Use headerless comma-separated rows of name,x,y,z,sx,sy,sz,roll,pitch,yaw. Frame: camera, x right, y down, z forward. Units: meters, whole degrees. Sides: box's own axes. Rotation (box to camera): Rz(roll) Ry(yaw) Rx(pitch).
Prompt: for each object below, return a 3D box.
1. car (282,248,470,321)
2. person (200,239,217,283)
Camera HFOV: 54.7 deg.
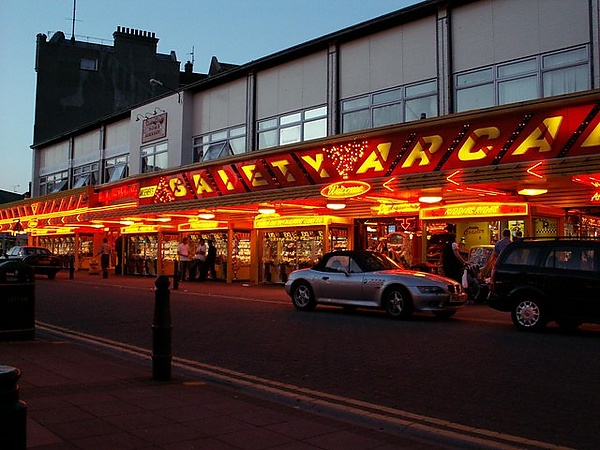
car,1.806,1.582,15.087,3.868,1.316,1.953,-5,-7,39
person,-4.602,1.828,29.418,0.744,2.060,0.839,-1,-1,17
